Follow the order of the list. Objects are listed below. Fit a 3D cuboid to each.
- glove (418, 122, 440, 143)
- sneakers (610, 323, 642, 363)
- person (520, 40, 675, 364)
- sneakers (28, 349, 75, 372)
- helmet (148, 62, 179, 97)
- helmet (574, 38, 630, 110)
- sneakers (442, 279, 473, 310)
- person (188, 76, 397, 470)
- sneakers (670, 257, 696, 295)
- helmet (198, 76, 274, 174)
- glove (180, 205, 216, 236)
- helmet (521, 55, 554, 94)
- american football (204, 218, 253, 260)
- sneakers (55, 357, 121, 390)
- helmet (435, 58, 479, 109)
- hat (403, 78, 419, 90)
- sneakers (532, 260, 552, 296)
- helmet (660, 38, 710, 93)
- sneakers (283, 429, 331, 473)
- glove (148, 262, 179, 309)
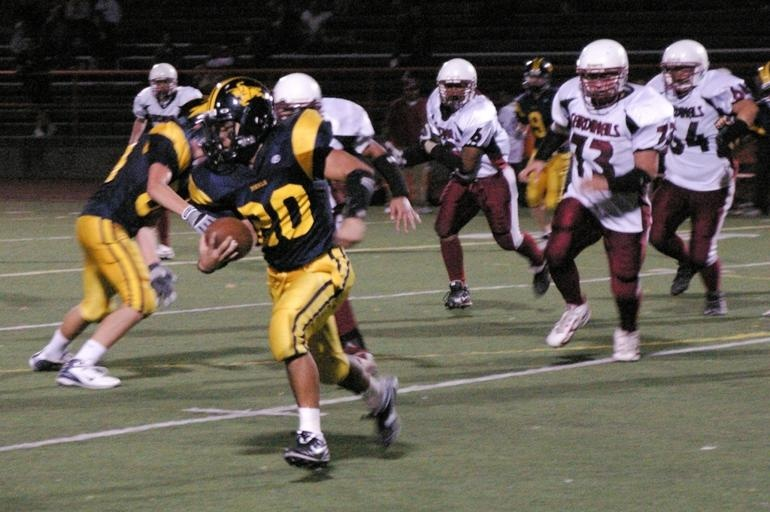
[{"bbox_3d":[0.453,-1.201,8.531,0.201,0.088,0.232,18,43,6],"label":"glove"},{"bbox_3d":[1.900,0.692,6.607,0.216,0.250,0.164,1,12,8],"label":"sneakers"},{"bbox_3d":[1.621,-0.456,6.758,0.729,2.458,1.106,-6,13,-23],"label":"person"},{"bbox_3d":[-2.557,0.792,6.402,0.468,0.129,0.179,-7,-9,-17],"label":"sneakers"},{"bbox_3d":[-2.660,-2.095,10.093,0.312,0.386,0.297,-4,12,-16],"label":"helmet"},{"bbox_3d":[1.685,-1.415,6.590,0.410,0.385,0.475,1,21,20],"label":"helmet"},{"bbox_3d":[0.695,0.383,8.249,0.252,0.259,0.193,-3,12,-12],"label":"sneakers"},{"bbox_3d":[-0.512,0.098,4.631,1.134,2.125,0.774,0,12,3],"label":"person"},{"bbox_3d":[3.045,0.227,8.588,0.234,0.349,0.096,28,31,18],"label":"sneakers"},{"bbox_3d":[-0.803,-0.781,4.765,0.533,0.393,0.372,-11,12,-26],"label":"helmet"},{"bbox_3d":[-1.029,-0.200,4.699,0.202,0.151,0.063,40,13,23],"label":"glove"},{"bbox_3d":[2.037,-2.447,11.431,0.458,0.381,0.516,6,24,22],"label":"helmet"},{"bbox_3d":[-0.832,-0.095,4.490,0.236,0.201,0.224,0,11,2],"label":"american football"},{"bbox_3d":[-2.105,0.842,6.042,0.542,0.182,0.183,5,7,-3],"label":"sneakers"},{"bbox_3d":[0.752,-1.758,8.429,0.489,0.437,0.509,3,35,21],"label":"helmet"},{"bbox_3d":[0.428,-2.878,14.187,0.236,0.139,0.214,6,20,20],"label":"hat"},{"bbox_3d":[1.559,0.238,8.446,0.158,0.319,0.209,-2,-15,-2],"label":"sneakers"},{"bbox_3d":[2.790,-1.738,7.770,0.535,0.388,0.386,-14,22,-24],"label":"helmet"},{"bbox_3d":[-0.399,1.028,4.450,0.157,0.140,0.298,-12,-23,32],"label":"sneakers"},{"bbox_3d":[-1.555,0.201,5.897,0.179,0.334,0.288,-3,12,-14],"label":"glove"}]
